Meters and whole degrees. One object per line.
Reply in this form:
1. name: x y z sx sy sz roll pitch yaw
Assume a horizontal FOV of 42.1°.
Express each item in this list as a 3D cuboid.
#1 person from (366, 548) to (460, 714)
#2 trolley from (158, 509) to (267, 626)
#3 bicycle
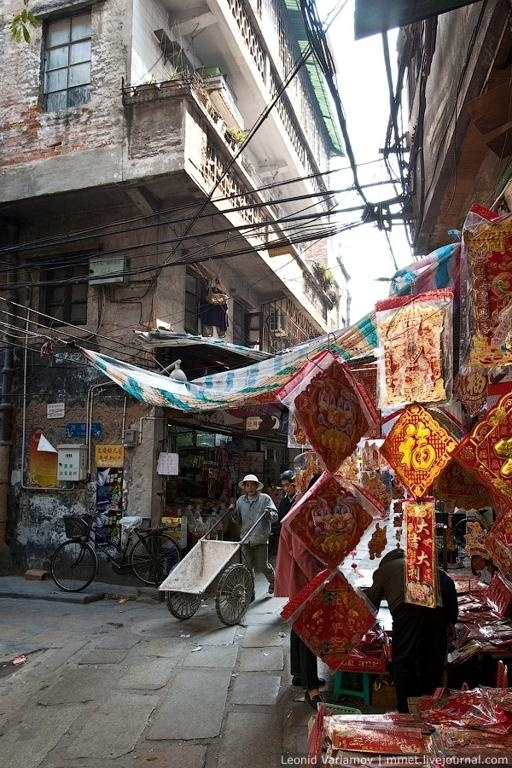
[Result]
1. person: 0.998 1.557 4.254 0.575 0.942 0.448 -3 -6 9
2. trolley: -0.470 2.066 7.296 0.688 1.086 1.227 -5 -6 25
3. bicycle: -1.892 2.339 9.276 2.292 1.220 0.865 1 -10 7
